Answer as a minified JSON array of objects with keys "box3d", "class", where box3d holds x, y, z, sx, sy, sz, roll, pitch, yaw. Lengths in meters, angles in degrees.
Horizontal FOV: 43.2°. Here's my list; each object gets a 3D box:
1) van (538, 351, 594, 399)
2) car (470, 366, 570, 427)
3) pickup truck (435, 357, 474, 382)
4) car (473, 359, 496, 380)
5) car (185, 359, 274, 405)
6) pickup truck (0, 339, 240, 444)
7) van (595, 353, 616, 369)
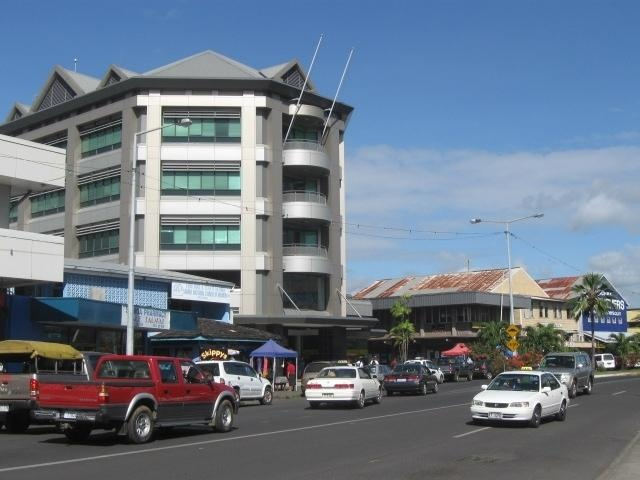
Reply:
[{"box3d":[12.074,6.700,39.961,2.079,1.703,3.623,-6,-17,29],"class":"van"},{"box3d":[6.825,5.409,27.369,1.782,1.833,3.485,-11,-13,42],"class":"car"},{"box3d":[10.500,9.946,61.825,1.620,1.148,2.797,-7,-14,30],"class":"pickup truck"},{"box3d":[12.988,10.255,63.100,1.229,0.955,2.021,-3,-4,35],"class":"car"},{"box3d":[-3.870,6.468,36.402,2.016,1.670,4.088,-3,-6,32],"class":"car"},{"box3d":[-6.220,4.622,24.556,6.328,3.053,4.142,-3,-10,5],"class":"pickup truck"},{"box3d":[27.849,12.097,78.637,1.538,1.213,2.564,0,2,6],"class":"van"}]
